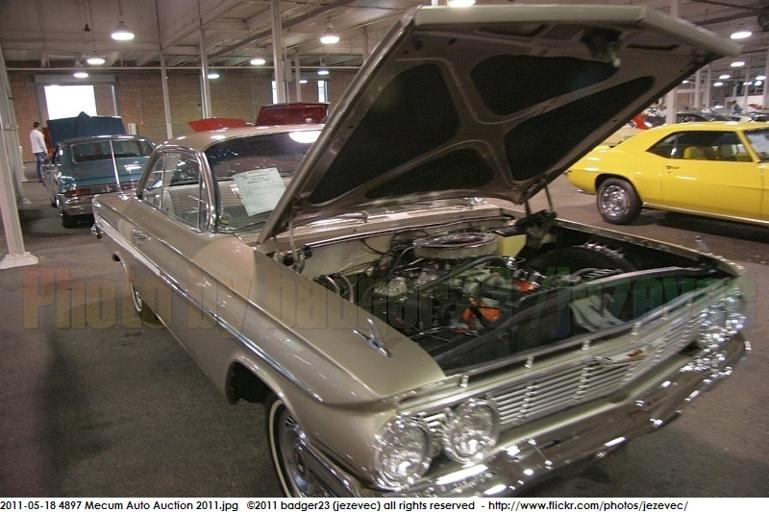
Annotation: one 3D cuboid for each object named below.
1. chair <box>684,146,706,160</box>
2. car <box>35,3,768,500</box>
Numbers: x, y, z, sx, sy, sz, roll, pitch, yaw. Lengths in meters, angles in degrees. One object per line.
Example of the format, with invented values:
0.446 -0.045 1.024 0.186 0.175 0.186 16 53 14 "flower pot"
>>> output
4.661 -1.534 7.060 0.301 0.215 0.310 -13 17 -43 "chair"
0.347 -0.071 3.134 2.870 2.600 2.825 -14 18 -33 "car"
